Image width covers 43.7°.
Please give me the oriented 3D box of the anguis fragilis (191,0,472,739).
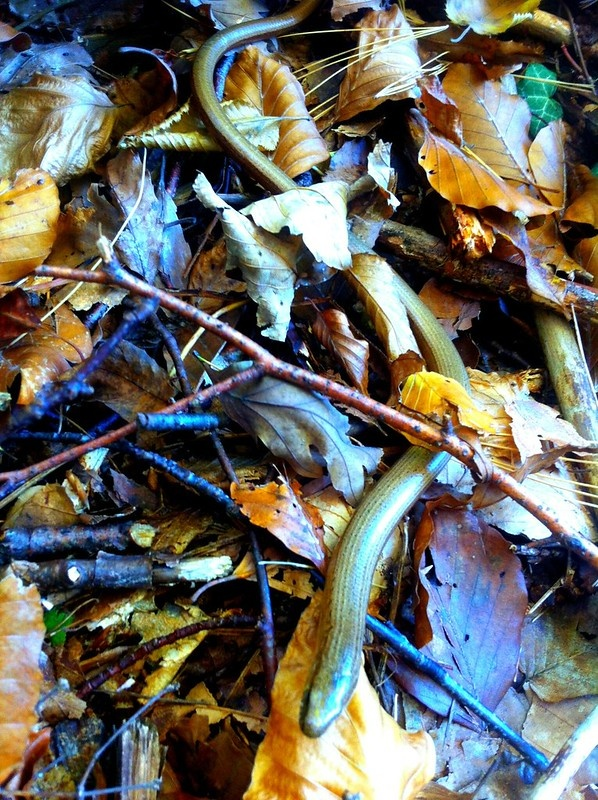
[{"bbox_3d":[0.026,-0.187,1.999,0.534,0.192,1.946,-22,72,13],"label":"anguis fragilis"}]
